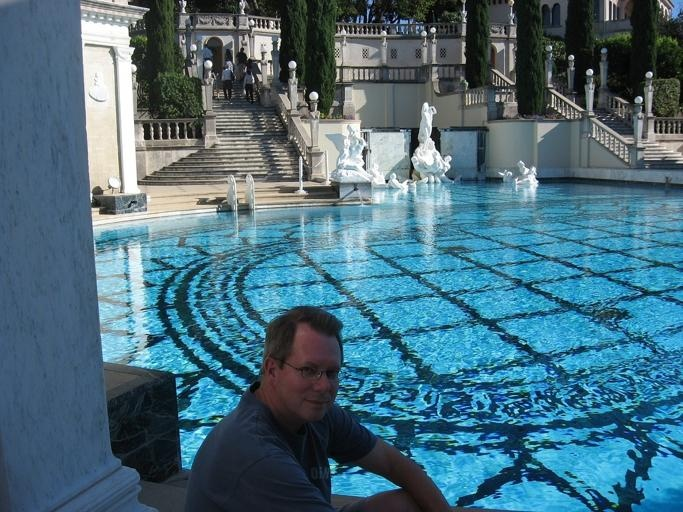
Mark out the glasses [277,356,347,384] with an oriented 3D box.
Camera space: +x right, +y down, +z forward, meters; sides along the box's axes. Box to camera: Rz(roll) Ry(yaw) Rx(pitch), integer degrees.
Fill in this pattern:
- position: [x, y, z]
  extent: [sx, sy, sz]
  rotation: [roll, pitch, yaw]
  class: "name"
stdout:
- position: [-0.091, 0.413, 2.101]
  extent: [0.217, 0.106, 0.077]
  rotation: [-6, 11, -26]
  class: "glasses"
